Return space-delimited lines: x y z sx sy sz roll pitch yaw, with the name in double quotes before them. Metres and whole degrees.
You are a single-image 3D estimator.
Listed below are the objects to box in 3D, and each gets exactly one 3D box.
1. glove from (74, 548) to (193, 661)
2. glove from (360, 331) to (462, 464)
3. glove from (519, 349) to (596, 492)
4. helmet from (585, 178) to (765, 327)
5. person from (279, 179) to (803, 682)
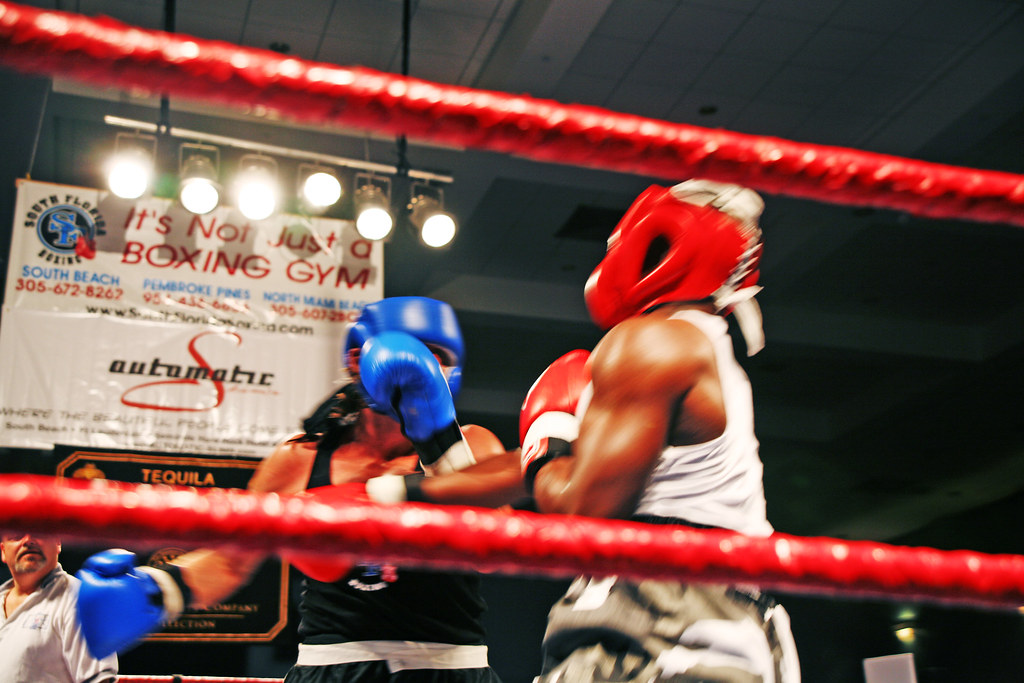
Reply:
"glove" -1.171 0.809 3.159 0.340 0.306 0.191 7 11 -6
"glove" -0.311 0.160 3.054 0.300 0.370 0.177 -14 17 40
"glove" 0.159 0.223 3.042 0.171 0.355 0.282 30 -20 4
"helmet" 0.486 -0.189 3.242 0.513 0.478 0.392 19 -15 26
"person" 0.372 0.261 3.033 1.169 1.494 0.503 8 12 -4
